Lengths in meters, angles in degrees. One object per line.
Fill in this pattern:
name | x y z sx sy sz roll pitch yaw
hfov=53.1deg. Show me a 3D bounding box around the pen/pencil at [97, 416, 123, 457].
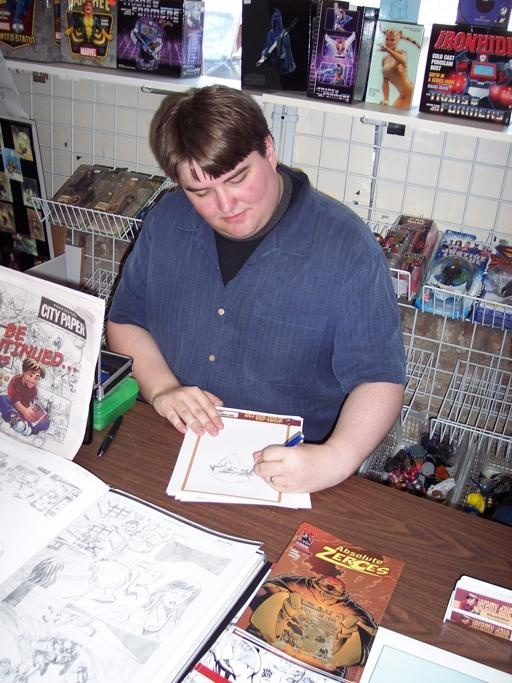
pen/pencil | -0.247 0.162 0.869 0.011 0.011 0.081 44 26 -12
